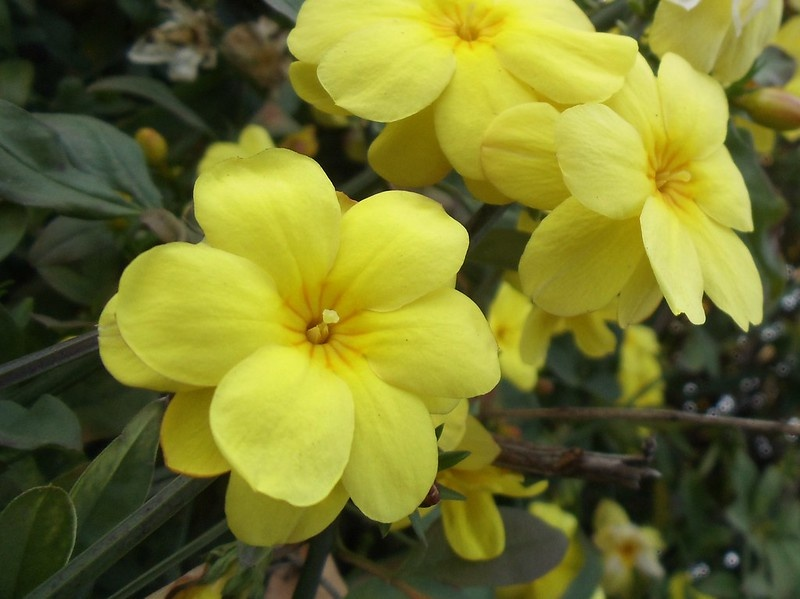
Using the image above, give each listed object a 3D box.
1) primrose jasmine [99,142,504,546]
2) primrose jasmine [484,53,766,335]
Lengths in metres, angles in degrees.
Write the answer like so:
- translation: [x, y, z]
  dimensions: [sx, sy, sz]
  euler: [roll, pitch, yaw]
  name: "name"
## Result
- translation: [-0.083, 0.034, 0.807]
  dimensions: [0.339, 0.104, 0.345]
  euler: [40, 71, 2]
  name: "primrose jasmine"
- translation: [0.258, -0.115, 0.856]
  dimensions: [0.282, 0.089, 0.259]
  euler: [-26, 110, -44]
  name: "primrose jasmine"
